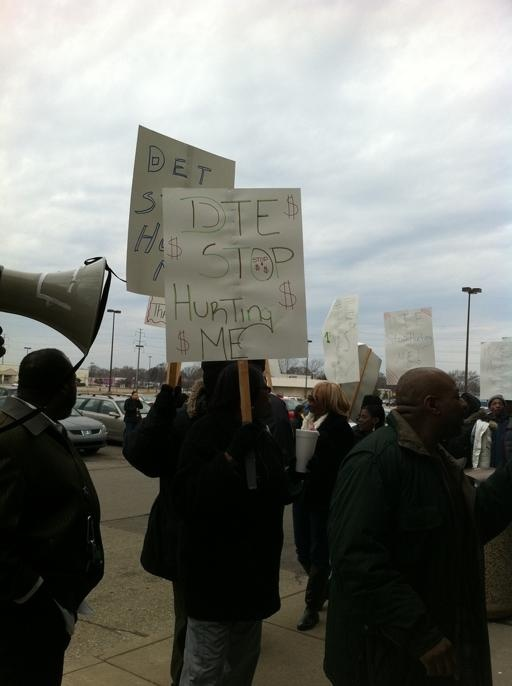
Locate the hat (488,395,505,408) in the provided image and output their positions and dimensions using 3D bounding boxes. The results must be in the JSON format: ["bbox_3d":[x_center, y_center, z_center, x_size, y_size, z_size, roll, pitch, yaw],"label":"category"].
[{"bbox_3d":[3.238,0.798,7.145,0.170,0.072,0.199,10,-12,-10],"label":"hat"}]

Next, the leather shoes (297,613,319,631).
[{"bbox_3d":[0.375,2.016,3.807,0.069,0.139,0.207,-19,-25,38],"label":"leather shoes"}]
